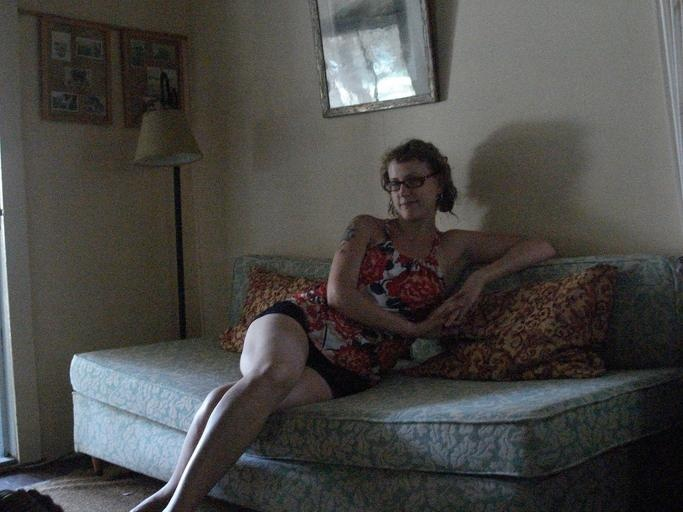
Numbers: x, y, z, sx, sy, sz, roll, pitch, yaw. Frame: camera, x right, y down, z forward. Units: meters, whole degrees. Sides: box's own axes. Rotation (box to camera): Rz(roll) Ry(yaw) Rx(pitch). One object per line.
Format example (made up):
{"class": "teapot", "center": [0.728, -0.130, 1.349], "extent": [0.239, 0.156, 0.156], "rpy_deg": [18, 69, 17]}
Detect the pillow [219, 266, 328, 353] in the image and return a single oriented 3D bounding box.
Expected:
{"class": "pillow", "center": [-0.316, 0.318, 3.076], "extent": [0.132, 0.432, 0.441], "rpy_deg": [35, -25, -30]}

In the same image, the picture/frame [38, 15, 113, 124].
{"class": "picture/frame", "center": [-1.534, -1.061, 3.511], "extent": [0.461, 0.608, 0.050], "rpy_deg": [-15, 14, -40]}

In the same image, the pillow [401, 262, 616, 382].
{"class": "pillow", "center": [0.650, 0.300, 2.227], "extent": [0.515, 0.170, 0.461], "rpy_deg": [-14, 23, 38]}
